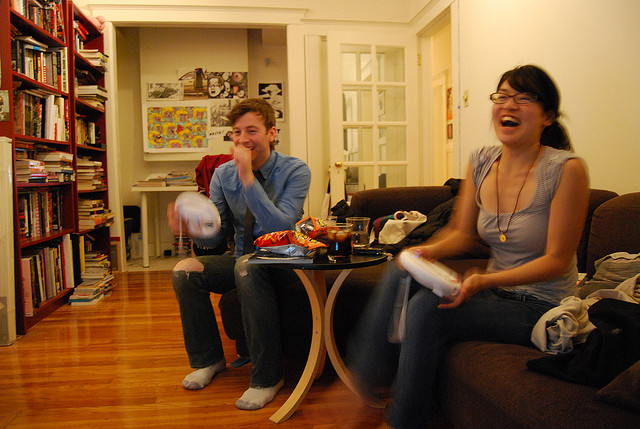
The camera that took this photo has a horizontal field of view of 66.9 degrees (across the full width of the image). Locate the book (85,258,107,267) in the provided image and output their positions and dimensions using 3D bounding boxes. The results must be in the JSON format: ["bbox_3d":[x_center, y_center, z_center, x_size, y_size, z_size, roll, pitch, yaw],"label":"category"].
[{"bbox_3d":[-1.942,0.422,4.174,0.147,0.026,0.134,-3,13,-7],"label":"book"}]

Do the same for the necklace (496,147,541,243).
[{"bbox_3d":[0.831,-0.084,2.070,0.170,0.384,0.179,5,15,25],"label":"necklace"}]

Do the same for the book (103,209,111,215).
[{"bbox_3d":[-2.052,-0.018,4.648,0.048,0.043,0.060,1,-8,-10],"label":"book"}]

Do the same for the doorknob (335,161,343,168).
[{"bbox_3d":[0.191,-0.512,5.030,0.079,0.066,0.017,-2,14,-1],"label":"doorknob"}]

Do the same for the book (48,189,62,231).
[{"bbox_3d":[-2.157,-0.029,3.916,0.123,0.302,0.336,-3,2,-31],"label":"book"}]

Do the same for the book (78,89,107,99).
[{"bbox_3d":[-2.167,-1.130,4.567,0.182,0.041,0.180,1,1,8],"label":"book"}]

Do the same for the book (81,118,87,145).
[{"bbox_3d":[-2.213,-0.768,4.524,0.027,0.247,0.183,-6,14,-16],"label":"book"}]

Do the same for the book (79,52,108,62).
[{"bbox_3d":[-2.154,-1.474,4.558,0.152,0.034,0.148,2,8,6],"label":"book"}]

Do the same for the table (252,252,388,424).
[{"bbox_3d":[0.108,0.569,2.462,0.792,0.848,0.776,0,-5,-8],"label":"table"}]

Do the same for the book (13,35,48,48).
[{"bbox_3d":[-2.155,-1.281,3.606,0.133,0.029,0.125,6,5,31],"label":"book"}]

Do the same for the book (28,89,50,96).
[{"bbox_3d":[-2.140,-0.919,3.667,0.090,0.020,0.085,5,5,21],"label":"book"}]

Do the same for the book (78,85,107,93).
[{"bbox_3d":[-2.170,-1.181,4.577,0.151,0.034,0.147,1,2,2],"label":"book"}]

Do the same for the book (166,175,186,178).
[{"bbox_3d":[-1.669,-0.433,5.571,0.194,0.022,0.079,-1,13,2],"label":"book"}]

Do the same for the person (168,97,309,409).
[{"bbox_3d":[-0.577,0.151,2.772,0.984,1.568,1.041,0,14,8],"label":"person"}]

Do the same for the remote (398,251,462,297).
[{"bbox_3d":[0.407,0.228,1.839,0.196,0.070,0.144,28,-5,5],"label":"remote"}]

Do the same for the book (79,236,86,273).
[{"bbox_3d":[-2.041,0.329,4.138,0.038,0.302,0.191,-7,15,-21],"label":"book"}]

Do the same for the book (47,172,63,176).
[{"bbox_3d":[-2.093,-0.309,3.795,0.058,0.037,0.125,1,13,11],"label":"book"}]

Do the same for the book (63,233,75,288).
[{"bbox_3d":[-2.057,0.383,3.963,0.062,0.443,0.117,-3,14,-6],"label":"book"}]

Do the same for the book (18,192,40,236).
[{"bbox_3d":[-2.150,0.002,3.555,0.181,0.290,0.312,-2,6,-31],"label":"book"}]

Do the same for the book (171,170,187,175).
[{"bbox_3d":[-1.686,-0.500,5.750,0.116,0.052,0.153,1,-6,-6],"label":"book"}]

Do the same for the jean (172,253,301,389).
[{"bbox_3d":[-0.517,0.586,2.966,0.719,0.796,0.799,-6,-13,-13],"label":"jean"}]
